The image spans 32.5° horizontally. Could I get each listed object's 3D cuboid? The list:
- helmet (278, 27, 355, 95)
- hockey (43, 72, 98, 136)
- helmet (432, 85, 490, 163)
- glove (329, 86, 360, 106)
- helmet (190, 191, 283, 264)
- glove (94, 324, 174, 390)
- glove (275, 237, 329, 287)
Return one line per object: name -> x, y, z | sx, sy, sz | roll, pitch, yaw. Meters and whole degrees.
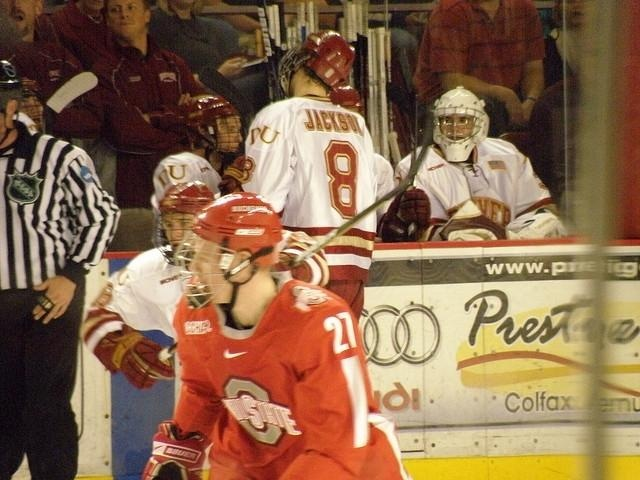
helmet -> -0.040, -0.931, 5.856 | 0.396, 0.334, 0.300 | 0, -26, 40
hockey -> -1.648, -0.954, 7.158 | 0.450, 0.149, 0.047 | -35, 6, -32
helmet -> 0.891, -0.804, 7.314 | 0.483, 0.499, 0.535 | 1, 26, 6
glove -> 0.131, -0.790, 6.083 | 0.086, 0.095, 0.249 | -1, -4, 18
helmet -> -0.356, -0.071, 4.786 | 0.382, 0.299, 0.270 | -4, 18, -17
glove -> -0.882, 0.548, 5.247 | 0.408, 0.164, 0.243 | 29, 51, 12
glove -> -0.072, 0.113, 4.946 | 0.241, 0.206, 0.076 | 28, 5, -15
